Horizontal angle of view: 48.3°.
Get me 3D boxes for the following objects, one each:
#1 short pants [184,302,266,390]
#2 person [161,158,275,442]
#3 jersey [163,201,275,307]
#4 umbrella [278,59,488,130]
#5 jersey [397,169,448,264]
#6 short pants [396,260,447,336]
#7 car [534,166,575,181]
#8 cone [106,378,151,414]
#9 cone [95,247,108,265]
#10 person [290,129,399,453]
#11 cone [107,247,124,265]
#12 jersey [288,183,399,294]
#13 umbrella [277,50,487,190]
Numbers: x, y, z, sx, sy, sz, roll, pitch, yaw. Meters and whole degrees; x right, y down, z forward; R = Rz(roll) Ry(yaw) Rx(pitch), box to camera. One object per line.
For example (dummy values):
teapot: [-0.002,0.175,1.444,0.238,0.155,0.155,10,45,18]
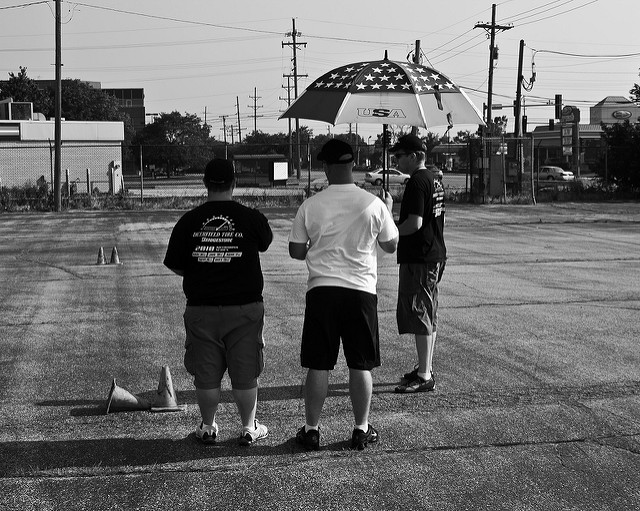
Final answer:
short pants: [-0.714,0.639,5.408,0.640,0.767,0.407,0,6,0]
person: [-0.738,0.335,5.326,0.759,2.064,0.476,0,8,-4]
jersey: [-0.760,-0.030,5.467,0.751,0.806,0.480,0,2,-9]
umbrella: [0.580,-1.372,6.189,1.319,0.534,1.419,0,9,0]
jersey: [0.915,-0.344,6.435,0.380,0.867,0.725,5,10,31]
short pants: [0.904,0.375,6.434,0.377,0.650,0.415,3,9,18]
car: [19.203,-6.632,57.792,1.900,0.986,3.751,0,10,-2]
cone: [-1.577,1.210,5.903,0.384,0.268,0.321,21,-19,-40]
cone: [-3.925,0.011,12.777,0.248,0.315,0.262,2,5,-13]
person: [0.184,0.253,5.374,0.818,2.234,0.736,-3,9,-24]
cone: [-3.740,0.000,12.885,0.247,0.315,0.273,4,9,26]
jersey: [0.192,-0.164,5.481,0.787,0.859,0.478,2,17,6]
umbrella: [0.690,-1.182,7.153,2.056,1.555,2.124,10,17,37]
